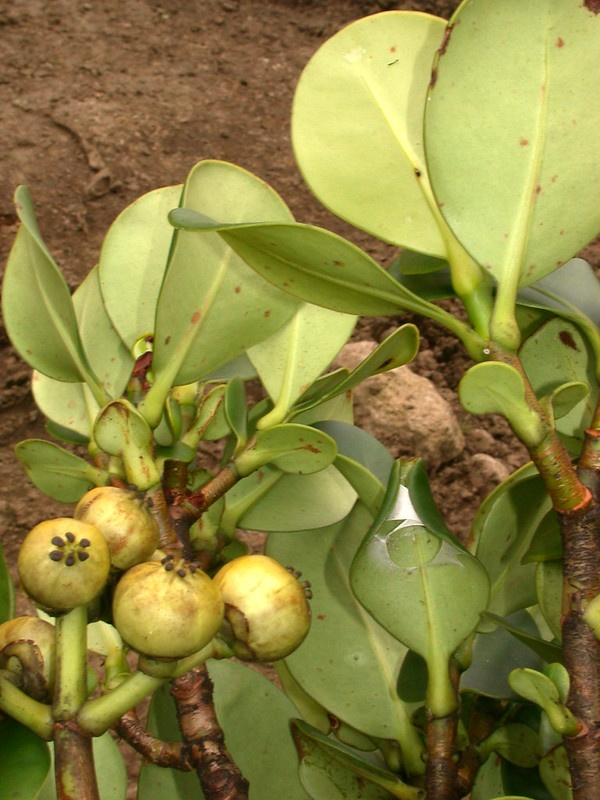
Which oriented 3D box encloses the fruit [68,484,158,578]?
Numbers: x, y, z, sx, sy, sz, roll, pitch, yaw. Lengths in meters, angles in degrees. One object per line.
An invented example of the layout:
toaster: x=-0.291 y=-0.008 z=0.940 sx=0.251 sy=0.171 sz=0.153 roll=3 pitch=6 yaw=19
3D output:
fruit: x=-0.098 y=0.070 z=0.479 sx=0.050 sy=0.046 sz=0.037 roll=-8 pitch=61 yaw=-16

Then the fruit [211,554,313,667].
fruit: x=-0.015 y=0.112 z=0.471 sx=0.070 sy=0.058 sz=0.064 roll=0 pitch=5 yaw=5

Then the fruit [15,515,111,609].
fruit: x=-0.111 y=0.077 z=0.407 sx=0.051 sy=0.052 sz=0.040 roll=16 pitch=77 yaw=-10

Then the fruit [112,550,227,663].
fruit: x=-0.063 y=0.107 z=0.449 sx=0.061 sy=0.048 sz=0.046 roll=0 pitch=53 yaw=-6
